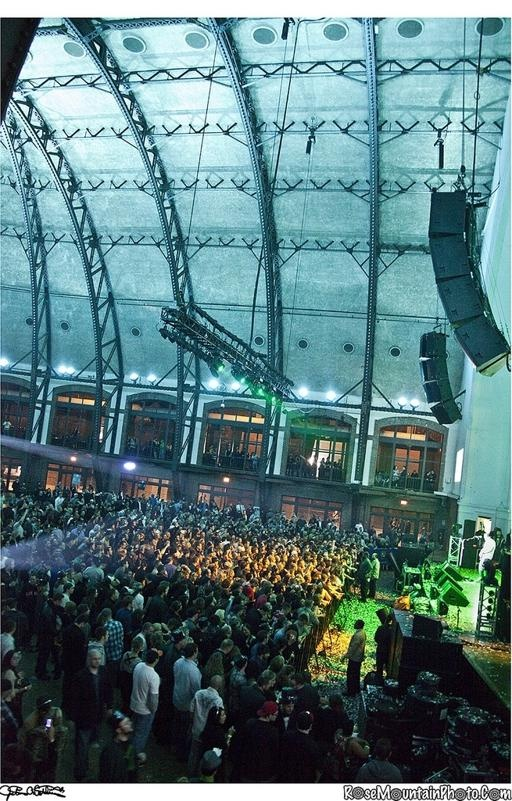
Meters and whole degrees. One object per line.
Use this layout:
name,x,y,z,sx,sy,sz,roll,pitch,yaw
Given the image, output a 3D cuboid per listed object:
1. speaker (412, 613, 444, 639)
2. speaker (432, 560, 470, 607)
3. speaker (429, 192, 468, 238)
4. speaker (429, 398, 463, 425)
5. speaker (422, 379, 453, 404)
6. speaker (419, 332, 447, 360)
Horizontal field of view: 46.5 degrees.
speaker,2.653,3.521,9.281,0.444,0.344,0.306,0,-5,27
speaker,4.564,4.358,14.239,0.421,0.916,1.289,-1,2,11
speaker,3.652,-3.587,11.329,0.842,0.853,0.229,5,-7,23
speaker,4.953,0.234,15.547,0.785,0.598,1.095,11,-5,13
speaker,4.868,-0.270,15.632,0.648,0.648,0.610,-14,-41,-16
speaker,4.561,-1.436,15.399,0.449,0.823,0.600,15,-10,-27
